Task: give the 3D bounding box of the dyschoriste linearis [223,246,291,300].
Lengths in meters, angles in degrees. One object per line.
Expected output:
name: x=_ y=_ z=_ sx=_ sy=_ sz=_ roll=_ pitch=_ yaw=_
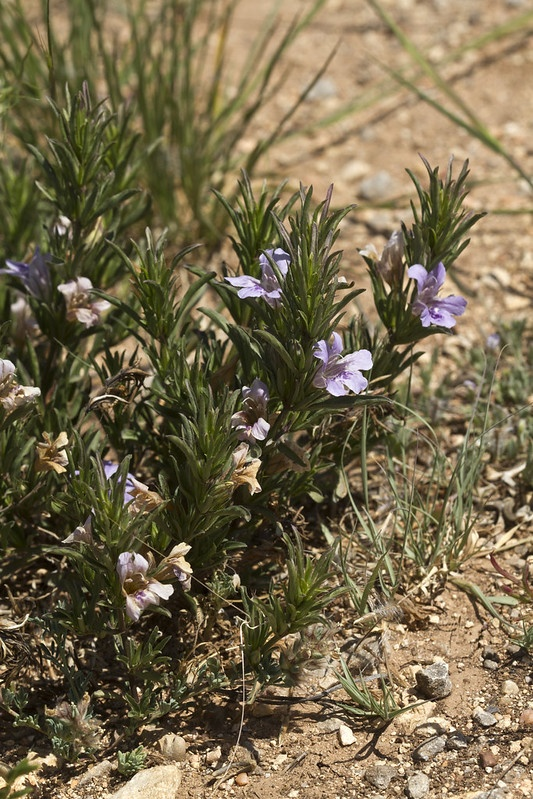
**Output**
dyschoriste linearis: x=-0.022 y=-0.339 z=2.054 sx=0.155 sy=0.150 sz=0.303 roll=8 pitch=24 yaw=-1
